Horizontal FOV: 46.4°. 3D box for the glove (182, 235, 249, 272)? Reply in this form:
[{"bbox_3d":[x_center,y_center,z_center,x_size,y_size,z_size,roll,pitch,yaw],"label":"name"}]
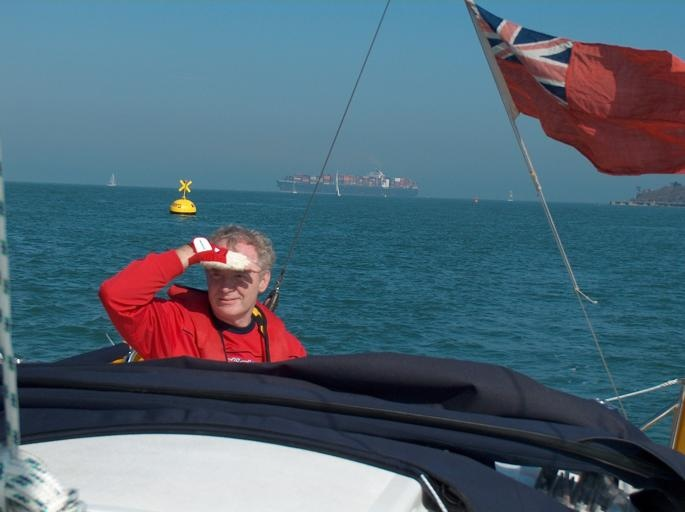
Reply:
[{"bbox_3d":[-0.697,-0.016,4.476,0.348,0.092,0.185,8,15,2],"label":"glove"}]
